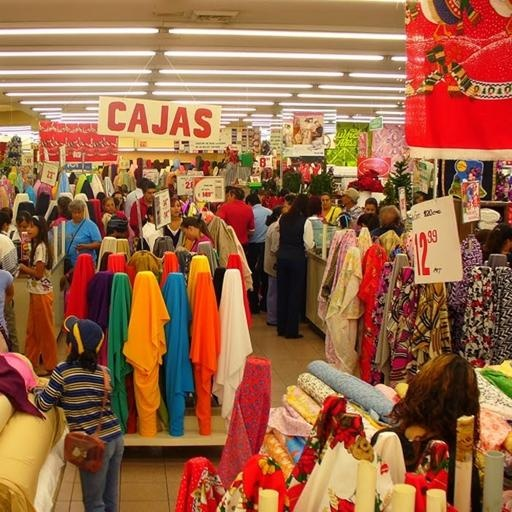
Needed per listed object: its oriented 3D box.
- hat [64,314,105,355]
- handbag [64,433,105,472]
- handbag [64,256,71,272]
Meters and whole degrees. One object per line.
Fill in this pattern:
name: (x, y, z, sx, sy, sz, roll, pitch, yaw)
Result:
hat: (-0.997, 0.447, 2.474, 0.143, 0.134, 0.247, -8, 50, -42)
handbag: (-0.924, 1.083, 2.341, 0.176, 0.199, 0.101, 15, 5, 16)
handbag: (-2.790, 0.149, 6.365, 0.199, 0.248, 0.068, 3, 2, 41)
